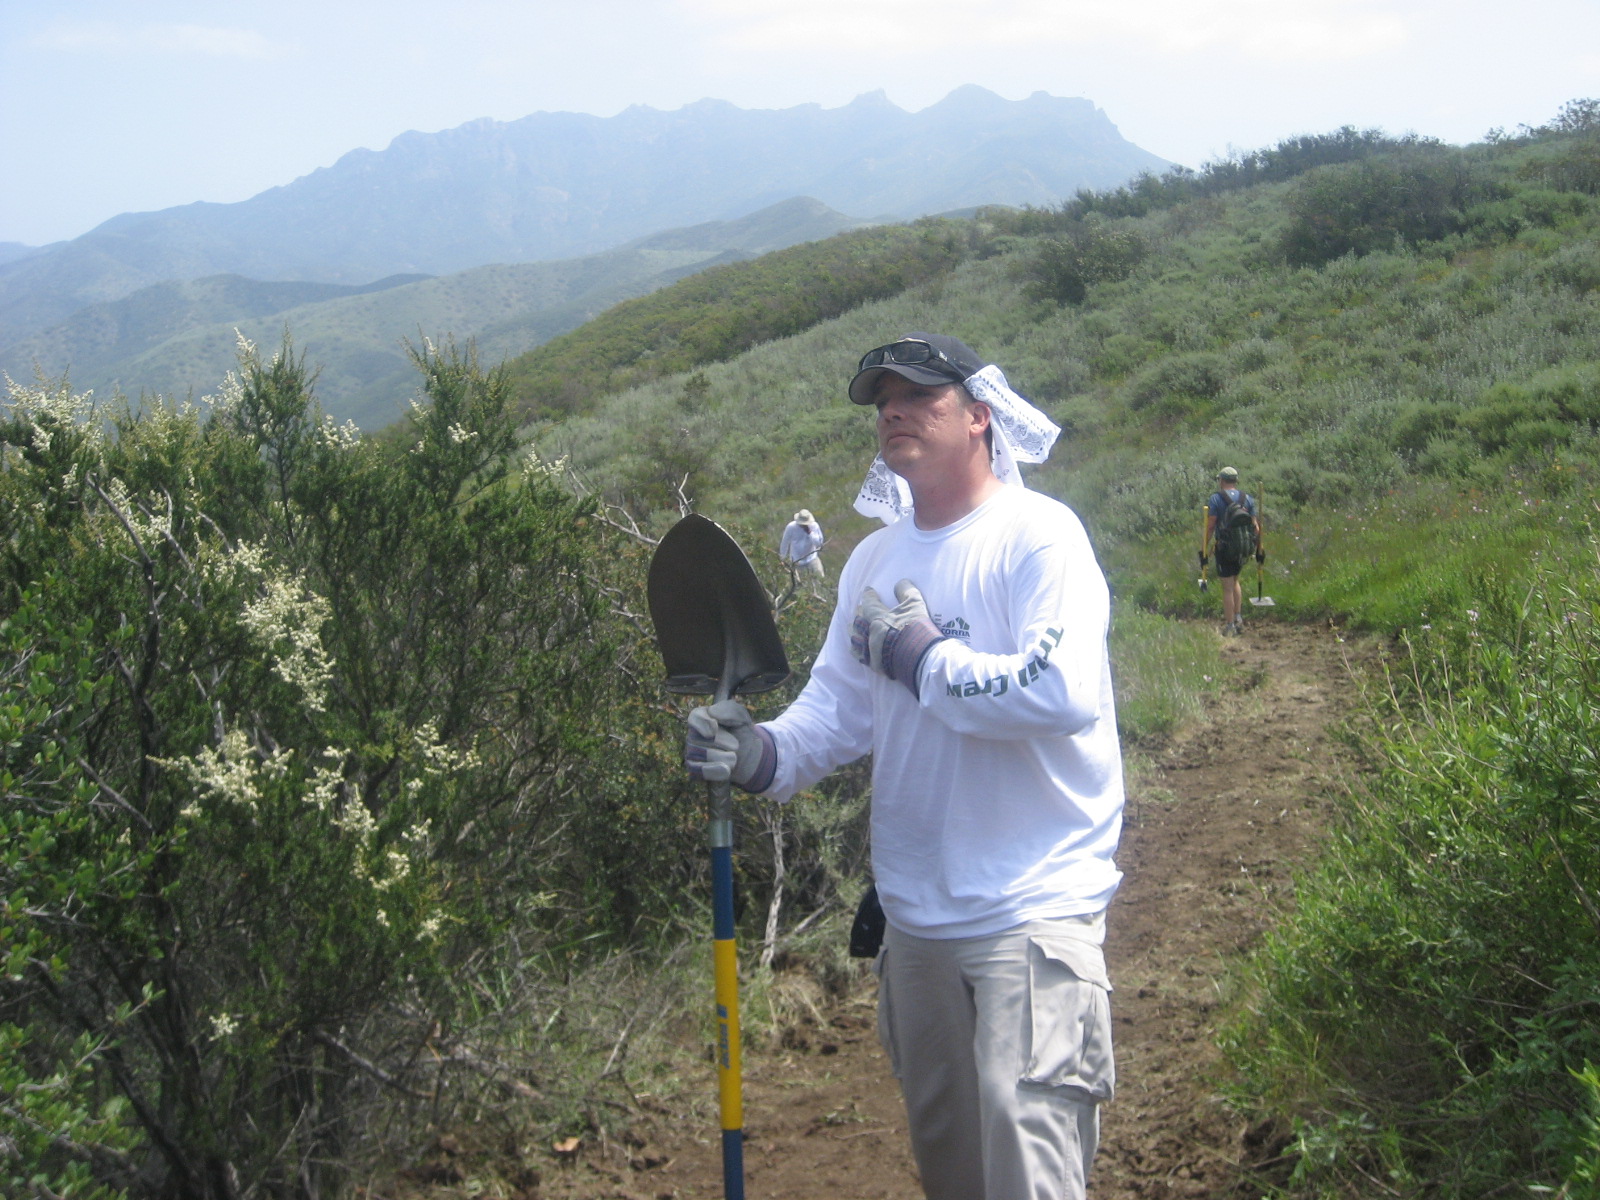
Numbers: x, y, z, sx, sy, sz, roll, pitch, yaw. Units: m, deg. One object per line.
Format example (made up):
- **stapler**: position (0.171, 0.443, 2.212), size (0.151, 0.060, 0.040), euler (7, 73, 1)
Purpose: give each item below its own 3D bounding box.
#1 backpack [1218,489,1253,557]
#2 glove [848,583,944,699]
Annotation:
- **backpack**: position (4.334, -0.796, 15.543), size (0.340, 0.626, 0.552), euler (2, -20, 0)
- **glove**: position (0.431, 0.137, 6.604), size (0.426, 0.407, 0.255), euler (6, 16, 40)
